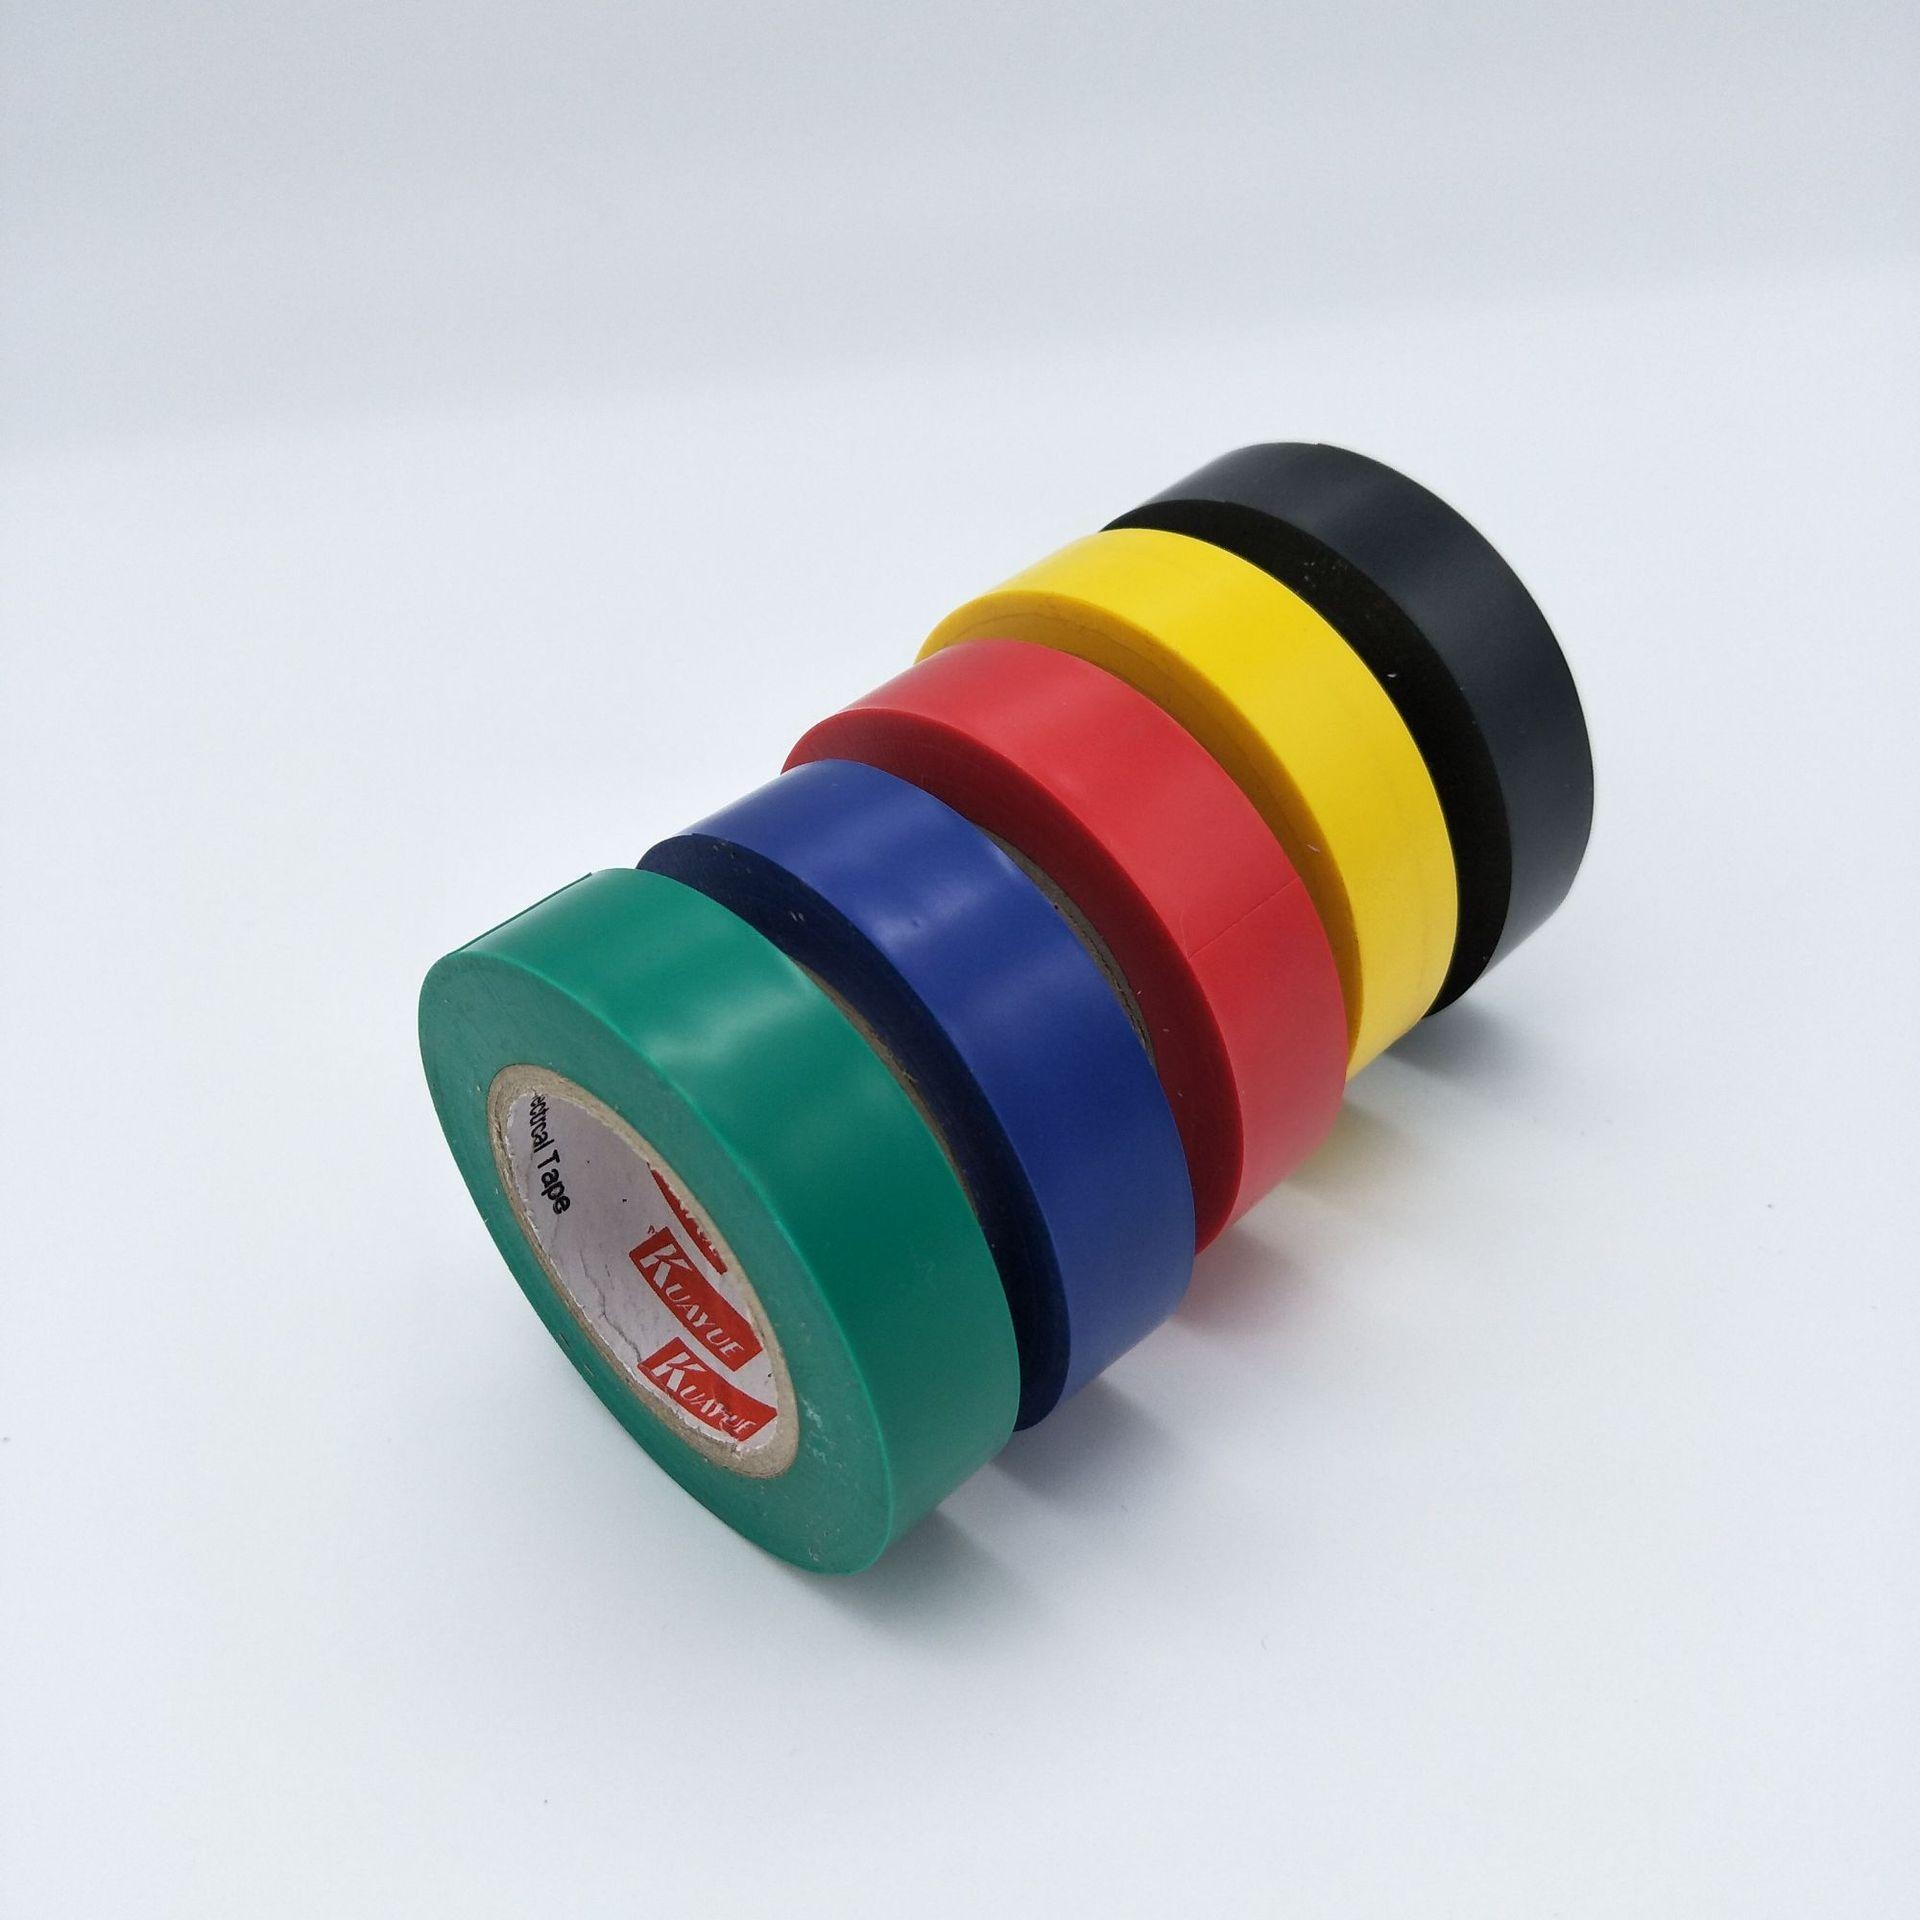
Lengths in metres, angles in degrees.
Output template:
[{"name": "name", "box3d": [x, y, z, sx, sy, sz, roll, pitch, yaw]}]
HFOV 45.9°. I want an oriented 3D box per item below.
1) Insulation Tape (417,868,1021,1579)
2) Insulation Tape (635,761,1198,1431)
[{"name": "Insulation Tape", "box3d": [-0.246, 0.228, 2.104, 0.642, 0.202, 0.693, 29, -37, 29]}, {"name": "Insulation Tape", "box3d": [-0.027, 0.102, 1.946, 0.151, 0.537, 0.502, -32, 23, -17]}]
